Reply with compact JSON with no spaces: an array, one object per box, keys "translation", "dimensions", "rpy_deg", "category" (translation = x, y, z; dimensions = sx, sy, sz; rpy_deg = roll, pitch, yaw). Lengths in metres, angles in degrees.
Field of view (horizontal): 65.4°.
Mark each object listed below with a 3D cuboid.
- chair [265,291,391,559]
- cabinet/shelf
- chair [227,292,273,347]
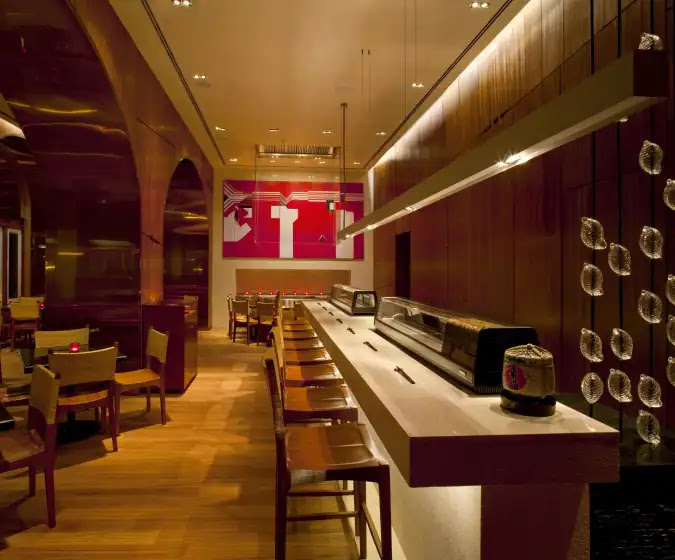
[{"translation":[-0.066,0.977,3.429],"dimensions":[0.463,0.982,1.378],"rpy_deg":[-2,1,-6],"category":"chair"},{"translation":[-1.829,0.727,5.677],"dimensions":[0.343,0.930,1.033],"rpy_deg":[0,0,-10],"category":"cabinet/shelf"},{"translation":[-1.545,0.711,9.143],"dimensions":[0.679,1.118,0.736],"rpy_deg":[2,8,5],"category":"chair"}]
